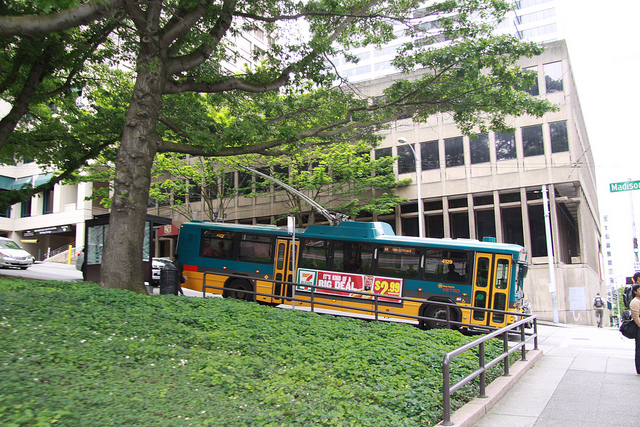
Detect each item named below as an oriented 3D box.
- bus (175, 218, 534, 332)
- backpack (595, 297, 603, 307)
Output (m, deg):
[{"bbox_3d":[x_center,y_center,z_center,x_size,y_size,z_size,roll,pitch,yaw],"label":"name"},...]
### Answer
[{"bbox_3d":[0.787,2.436,19.671,16.060,3.257,3.060,3,-2,20],"label":"bus"},{"bbox_3d":[17.707,5.696,27.578,0.498,0.604,0.422,9,5,7],"label":"backpack"}]
